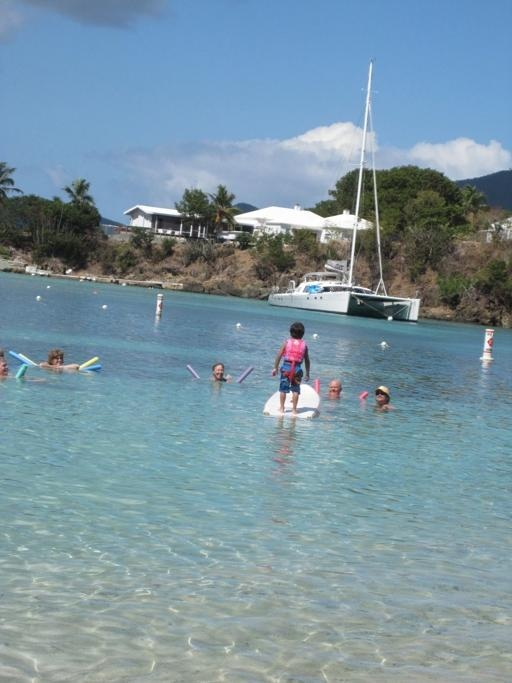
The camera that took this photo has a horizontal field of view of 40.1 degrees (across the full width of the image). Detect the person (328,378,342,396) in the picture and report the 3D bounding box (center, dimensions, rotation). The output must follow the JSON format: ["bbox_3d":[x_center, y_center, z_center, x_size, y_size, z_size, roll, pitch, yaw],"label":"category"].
[{"bbox_3d":[1.945,1.185,17.463,0.342,0.411,0.990,5,0,7],"label":"person"}]
